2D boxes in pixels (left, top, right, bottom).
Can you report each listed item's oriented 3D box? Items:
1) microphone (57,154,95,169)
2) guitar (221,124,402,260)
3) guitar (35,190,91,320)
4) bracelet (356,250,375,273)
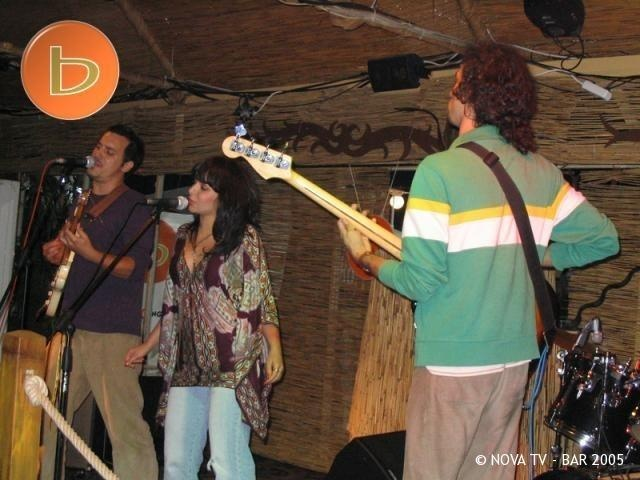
[{"bbox_3d":[-1.710,-0.560,4.941,0.300,0.093,0.085,4,-23,-43],"label":"microphone"},{"bbox_3d":[0.051,-0.293,4.526,0.154,0.210,1.402,30,11,-48],"label":"guitar"},{"bbox_3d":[-1.942,0.092,5.390,0.234,0.997,0.362,2,-5,-4],"label":"guitar"},{"bbox_3d":[0.272,0.121,3.924,0.029,0.107,0.101,-22,26,-22],"label":"bracelet"}]
